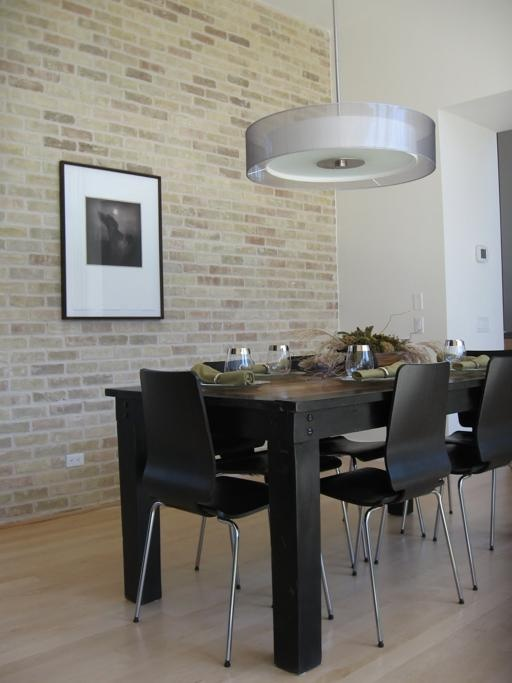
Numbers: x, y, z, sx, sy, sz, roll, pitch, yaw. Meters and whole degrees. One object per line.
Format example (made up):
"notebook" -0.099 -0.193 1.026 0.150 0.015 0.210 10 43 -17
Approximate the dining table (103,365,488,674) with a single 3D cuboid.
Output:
"dining table" 0.173 0.487 1.983 1.195 0.713 1.096 1 -4 -40

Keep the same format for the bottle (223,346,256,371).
"bottle" -0.051 0.052 1.692 0.073 0.069 0.074 -3 -3 26

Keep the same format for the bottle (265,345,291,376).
"bottle" 0.065 0.063 1.943 0.098 0.126 0.094 -1 0 0

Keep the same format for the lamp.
"lamp" 0.282 -0.793 2.134 0.706 0.788 0.710 -1 -3 4

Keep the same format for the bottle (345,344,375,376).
"bottle" 0.330 0.057 1.807 0.106 0.099 0.077 -3 3 -25

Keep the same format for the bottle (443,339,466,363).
"bottle" 0.751 0.034 2.106 0.083 0.131 0.082 -1 1 0
